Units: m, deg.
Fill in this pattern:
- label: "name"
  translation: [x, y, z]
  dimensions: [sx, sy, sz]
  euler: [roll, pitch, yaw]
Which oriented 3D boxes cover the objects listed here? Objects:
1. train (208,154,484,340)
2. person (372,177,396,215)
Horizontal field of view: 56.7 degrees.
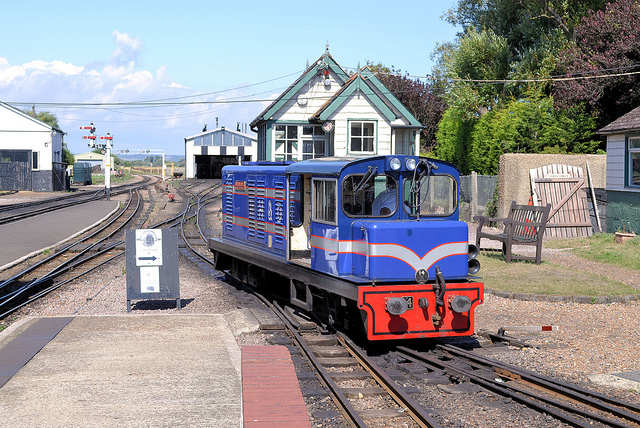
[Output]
- label: "train"
  translation: [0.069, 0.510, 14.955]
  dimensions: [2.916, 3.157, 8.228]
  euler: [0, 1, -23]
- label: "person"
  translation: [1.330, -0.373, 11.920]
  dimensions: [0.405, 0.808, 0.272]
  euler: [2, 3, -6]
